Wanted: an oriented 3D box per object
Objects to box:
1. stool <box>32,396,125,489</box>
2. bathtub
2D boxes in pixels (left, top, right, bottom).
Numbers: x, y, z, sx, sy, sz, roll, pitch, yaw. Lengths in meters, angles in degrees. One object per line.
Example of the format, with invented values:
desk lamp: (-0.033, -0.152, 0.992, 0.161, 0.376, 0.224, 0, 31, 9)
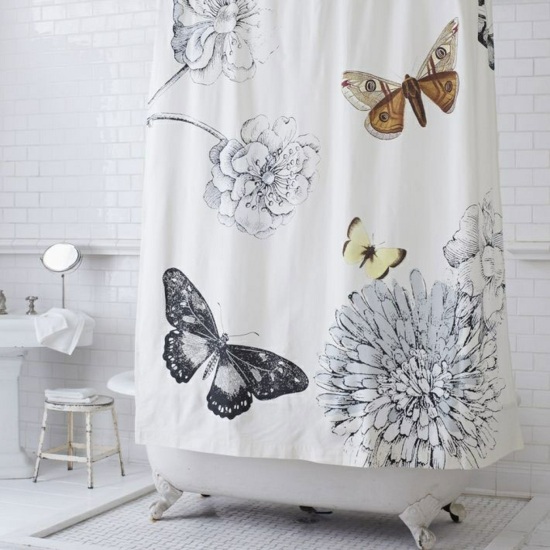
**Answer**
stool: (-0.952, 0.827, 3.586, 0.371, 0.551, 0.349, 1, 7, -5)
bathtub: (0.068, 0.873, 2.710, 1.177, 0.328, 0.222, 0, 1, 16)
